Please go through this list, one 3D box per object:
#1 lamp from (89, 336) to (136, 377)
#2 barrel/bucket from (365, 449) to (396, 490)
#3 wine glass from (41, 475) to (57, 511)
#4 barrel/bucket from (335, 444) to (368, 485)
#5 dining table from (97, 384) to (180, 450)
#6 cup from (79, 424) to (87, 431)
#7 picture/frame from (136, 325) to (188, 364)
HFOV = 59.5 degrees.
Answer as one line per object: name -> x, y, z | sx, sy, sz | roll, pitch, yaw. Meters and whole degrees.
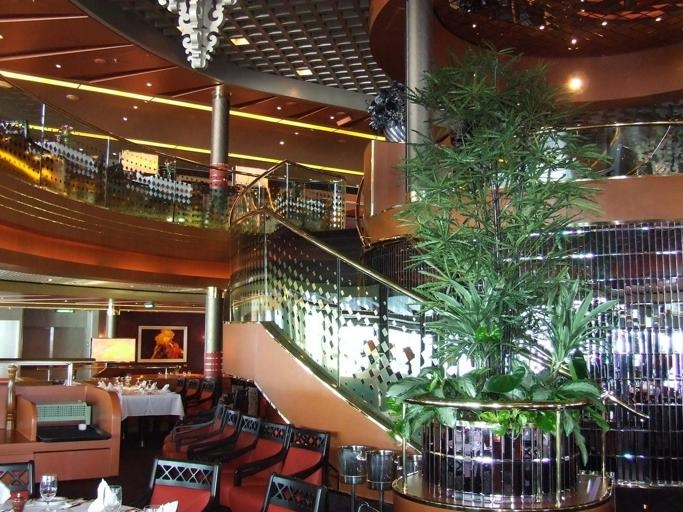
lamp -> -5.243, 2.255, 14.108 | 1.044, 0.702, 0.539 | -1, 0, 0
barrel/bucket -> 0.329, 1.778, 4.951 | 0.261, 0.291, 0.269 | 3, -10, 1
wine glass -> -1.902, 1.528, 3.884 | 0.087, 0.243, 0.337 | 5, -11, -23
barrel/bucket -> 0.182, 1.788, 5.086 | 0.330, 0.272, 0.325 | 1, -6, 0
dining table -> -3.334, 2.434, 9.282 | 1.109, 0.671, 1.405 | 5, -8, 28
cup -> -2.999, 1.993, 6.931 | 0.074, 0.053, 0.068 | -1, -23, 0
picture/frame -> -5.597, 2.728, 18.412 | 1.292, 1.035, 0.088 | 4, -6, -33
